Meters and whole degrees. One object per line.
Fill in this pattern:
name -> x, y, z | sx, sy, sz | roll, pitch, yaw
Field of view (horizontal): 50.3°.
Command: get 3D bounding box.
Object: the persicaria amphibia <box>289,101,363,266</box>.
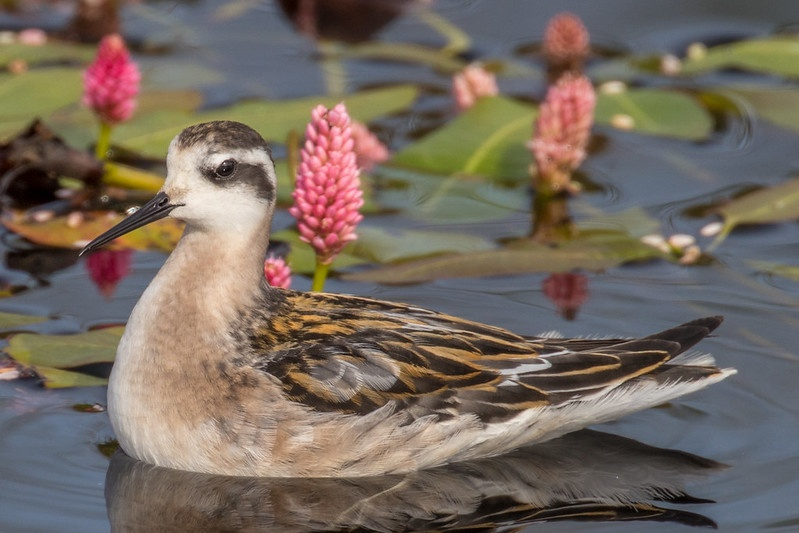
persicaria amphibia -> -0.766, -0.456, 4.824 | 0.717, 0.607, 0.918 | 2, 32, 0

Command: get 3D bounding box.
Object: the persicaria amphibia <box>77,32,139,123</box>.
persicaria amphibia -> -2.053, -1.323, 6.080 | 0.377, 0.619, 0.299 | -1, 20, -12
